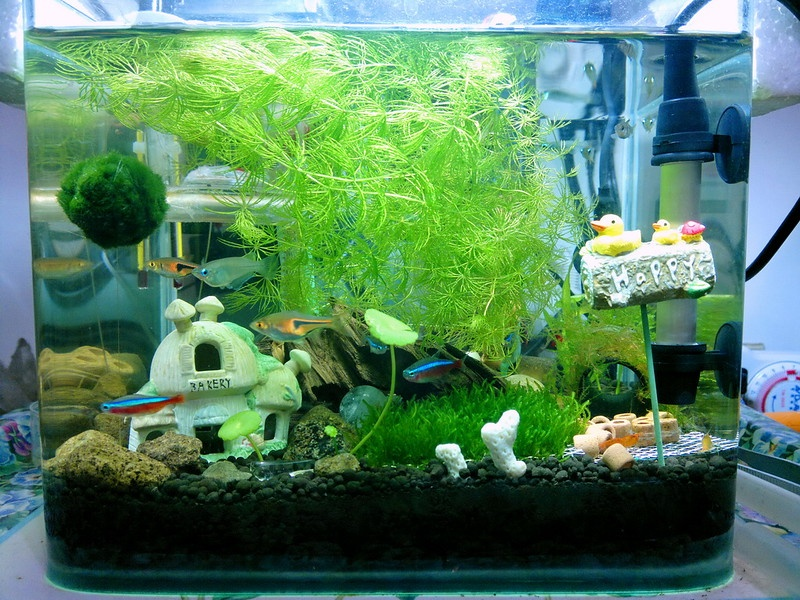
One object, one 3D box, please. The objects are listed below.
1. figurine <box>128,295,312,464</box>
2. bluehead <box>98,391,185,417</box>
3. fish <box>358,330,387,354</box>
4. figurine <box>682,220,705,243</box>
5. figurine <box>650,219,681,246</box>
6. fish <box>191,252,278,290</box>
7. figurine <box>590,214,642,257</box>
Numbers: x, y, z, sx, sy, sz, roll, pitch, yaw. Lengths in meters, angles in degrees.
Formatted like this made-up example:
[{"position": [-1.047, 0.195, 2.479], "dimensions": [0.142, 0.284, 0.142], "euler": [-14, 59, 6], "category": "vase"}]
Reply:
[{"position": [-0.526, 0.167, 2.098], "dimensions": [0.471, 0.435, 0.481], "euler": [-3, 12, -26], "category": "figurine"}, {"position": [-0.690, 0.284, 1.878], "dimensions": [0.171, 0.065, 0.028], "euler": [-7, -27, -20], "category": "bluehead"}, {"position": [-0.090, 0.127, 2.206], "dimensions": [0.033, 0.067, 0.131], "euler": [-7, 23, -38], "category": "fish"}, {"position": [0.750, -0.174, 1.792], "dimensions": [0.059, 0.044, 0.059], "euler": [-13, 29, 18], "category": "figurine"}, {"position": [0.690, -0.175, 1.812], "dimensions": [0.072, 0.064, 0.052], "euler": [-2, 5, 4], "category": "figurine"}, {"position": [-0.481, -0.094, 2.106], "dimensions": [0.299, 0.128, 0.082], "euler": [-6, 16, -31], "category": "fish"}, {"position": [0.564, -0.173, 1.816], "dimensions": [0.140, 0.103, 0.102], "euler": [-7, 16, -14], "category": "figurine"}]
